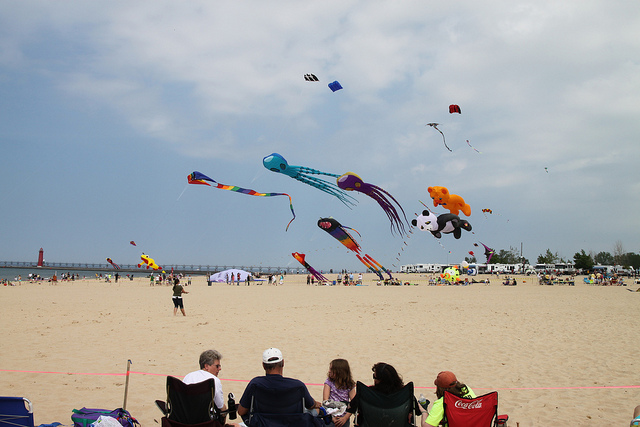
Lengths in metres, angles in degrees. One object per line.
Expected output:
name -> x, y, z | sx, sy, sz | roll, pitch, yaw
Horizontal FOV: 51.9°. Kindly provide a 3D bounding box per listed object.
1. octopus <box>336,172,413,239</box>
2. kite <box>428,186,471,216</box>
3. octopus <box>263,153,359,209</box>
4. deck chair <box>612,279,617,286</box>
octopus -> 3.083, -0.655, 35.860 | 5.066, 1.488, 0.970 | 31, 19, -15
kite -> 9.121, -0.679, 44.480 | 4.028, 2.329, 1.255 | -2, -9, -40
octopus -> -0.385, -1.811, 29.405 | 5.450, 0.923, 1.700 | 26, 33, -4
deck chair -> 25.372, 5.941, 56.810 | 0.365, 0.416, 1.008 | 0, -2, 20
